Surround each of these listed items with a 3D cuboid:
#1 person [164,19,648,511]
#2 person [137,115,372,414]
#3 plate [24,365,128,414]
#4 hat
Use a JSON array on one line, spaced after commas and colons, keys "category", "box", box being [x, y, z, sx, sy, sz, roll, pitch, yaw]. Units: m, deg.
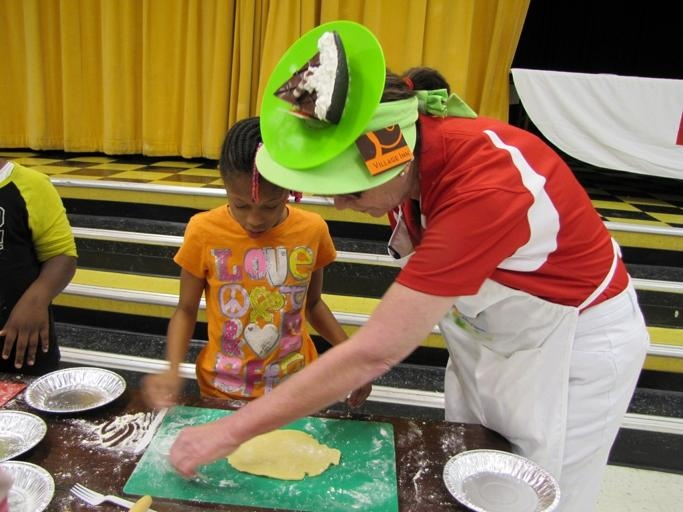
[{"category": "person", "box": [0.299, 0.099, 1.628, 1.422, 1.287, 0.712, 1, 33, -15]}, {"category": "person", "box": [-0.289, 0.265, 2.147, 0.863, 1.538, 0.519, -3, 32, -16]}, {"category": "plate", "box": [-0.842, 0.425, 1.732, 0.263, 0.044, 0.273, 5, 15, -11]}, {"category": "hat", "box": [0.036, -0.361, 1.559, 0.635, 0.194, 0.476, -14, 31, -16]}]
